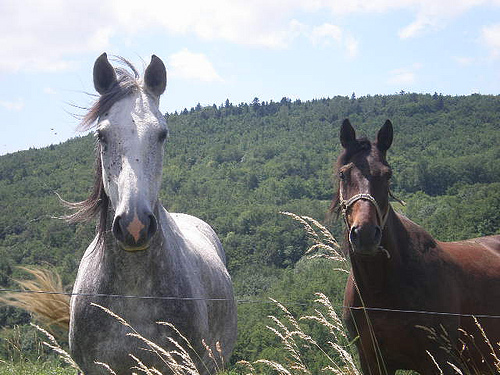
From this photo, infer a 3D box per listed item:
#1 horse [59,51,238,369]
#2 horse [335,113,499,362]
[{"bbox_3d":[-1.284,0.617,8.536,1.697,4.987,2.372,1,9,37],"label":"horse"},{"bbox_3d":[2.430,0.725,8.903,2.111,3.554,1.305,-6,7,-7],"label":"horse"}]
